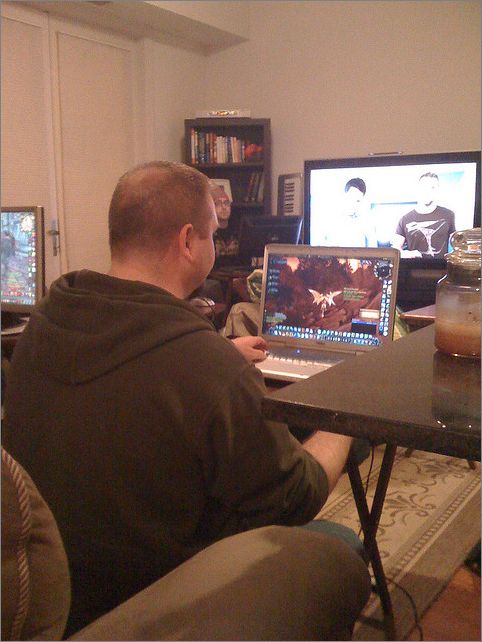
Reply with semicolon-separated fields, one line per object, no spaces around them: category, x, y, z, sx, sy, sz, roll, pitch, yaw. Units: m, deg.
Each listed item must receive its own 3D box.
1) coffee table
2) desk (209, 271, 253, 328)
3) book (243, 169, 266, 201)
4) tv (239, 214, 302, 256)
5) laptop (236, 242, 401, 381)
coffee table;0.211;0.558;1.597;0.527;0.696;0.407;1;8;31
desk;-0.101;-0.181;4.543;0.437;0.590;0.459;3;8;16
book;0.144;-1.357;5.338;0.064;0.294;0.273;8;6;-17
tv;0.240;-0.610;4.031;0.480;0.354;0.254;1;-10;9
laptop;0.277;-0.111;1.674;0.467;0.418;0.374;5;15;26
